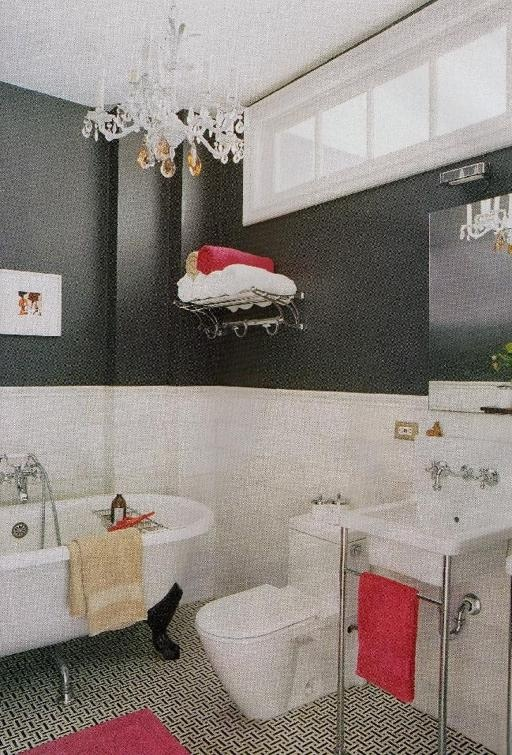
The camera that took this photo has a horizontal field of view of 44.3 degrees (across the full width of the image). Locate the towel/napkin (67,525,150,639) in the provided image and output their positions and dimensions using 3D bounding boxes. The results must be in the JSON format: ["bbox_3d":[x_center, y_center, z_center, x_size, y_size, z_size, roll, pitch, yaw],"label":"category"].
[{"bbox_3d":[-0.505,0.688,2.147,0.299,0.329,0.101,-1,3,-31],"label":"towel/napkin"}]

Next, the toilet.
[{"bbox_3d":[0.092,0.798,2.140,0.609,0.583,0.297,-5,8,-34],"label":"toilet"}]

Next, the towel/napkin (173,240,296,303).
[{"bbox_3d":[-0.085,-0.382,2.387,0.291,0.136,0.294,6,7,44],"label":"towel/napkin"}]

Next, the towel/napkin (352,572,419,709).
[{"bbox_3d":[0.371,0.726,1.787,0.063,0.315,0.199,-3,5,-44],"label":"towel/napkin"}]
